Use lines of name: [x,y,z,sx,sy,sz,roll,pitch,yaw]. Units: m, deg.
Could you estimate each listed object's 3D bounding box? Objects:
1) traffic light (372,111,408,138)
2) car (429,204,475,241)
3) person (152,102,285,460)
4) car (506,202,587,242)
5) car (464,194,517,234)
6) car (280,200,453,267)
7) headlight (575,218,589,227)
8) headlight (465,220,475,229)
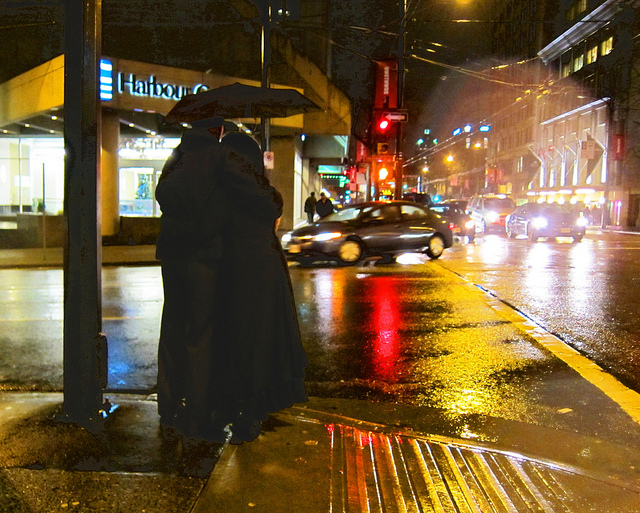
traffic light: [2.485,-4.483,24.436,1.184,0.470,1.617,0,10,32]
car: [5.271,-1.344,28.164,1.493,1.087,3.188,2,8,8]
person: [-0.854,0.220,5.651,0.837,2.414,0.563,-2,7,-13]
car: [8.532,-1.323,28.376,1.308,1.063,3.278,1,-1,-8]
car: [8.538,-2.089,37.191,1.990,1.718,4.071,-1,3,-9]
car: [1.103,-0.502,17.987,3.744,1.249,1.677,0,-3,-32]
headlight: [9.594,-1.231,26.854,0.373,0.204,0.375,-10,10,-44]
headlight: [5.681,-1.185,27.761,0.442,0.327,0.168,-5,9,-36]
